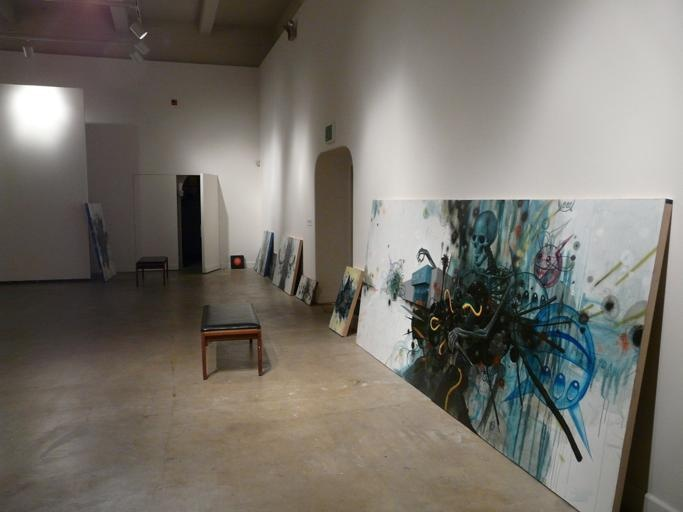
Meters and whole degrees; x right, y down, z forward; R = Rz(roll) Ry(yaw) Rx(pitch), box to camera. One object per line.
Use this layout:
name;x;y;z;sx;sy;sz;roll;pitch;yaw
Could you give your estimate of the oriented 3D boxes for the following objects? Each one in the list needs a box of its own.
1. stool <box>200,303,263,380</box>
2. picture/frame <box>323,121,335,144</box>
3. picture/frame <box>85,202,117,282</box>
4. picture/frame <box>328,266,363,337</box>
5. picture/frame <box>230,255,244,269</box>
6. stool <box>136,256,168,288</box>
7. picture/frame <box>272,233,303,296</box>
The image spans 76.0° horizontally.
stool;-1.249;0.969;5.093;0.677;0.627;0.864;-1;6;-12
picture/frame;-0.198;-2.076;7.356;0.056;0.364;0.458;2;0;-15
picture/frame;-5.942;-0.403;10.856;0.555;1.842;1.434;-3;7;-28
picture/frame;0.072;0.716;6.604;0.074;0.873;0.689;14;17;-11
picture/frame;-3.045;0.164;12.902;0.433;0.354;0.269;-2;7;-17
stool;-4.454;0.227;10.282;0.718;0.821;0.939;0;6;-12
picture/frame;-1.171;0.209;9.689;0.109;1.095;1.147;11;6;-14
